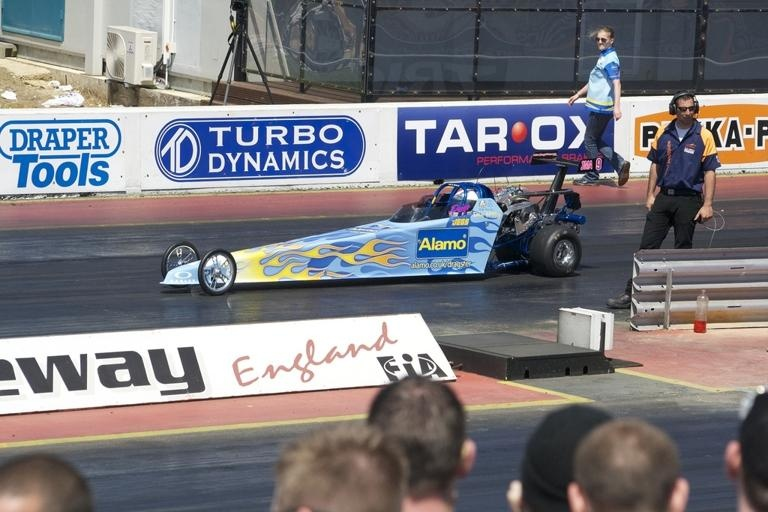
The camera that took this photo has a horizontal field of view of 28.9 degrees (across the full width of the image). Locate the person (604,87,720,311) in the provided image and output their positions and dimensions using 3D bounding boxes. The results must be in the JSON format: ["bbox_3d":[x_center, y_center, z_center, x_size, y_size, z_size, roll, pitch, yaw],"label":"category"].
[{"bbox_3d":[3.871,-1.076,19.393,0.888,2.042,0.447,4,16,10],"label":"person"}]

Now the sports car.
[{"bbox_3d":[0.000,-0.489,21.144,5.622,1.400,2.306,-2,4,-17],"label":"sports car"}]

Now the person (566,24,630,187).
[{"bbox_3d":[3.768,-2.595,25.868,1.387,2.655,1.033,1,1,5],"label":"person"}]

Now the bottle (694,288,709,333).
[{"bbox_3d":[4.081,0.713,19.167,0.176,0.517,0.266,5,15,12],"label":"bottle"}]

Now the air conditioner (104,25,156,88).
[{"bbox_3d":[-5.806,-4.623,34.714,0.582,1.335,1.373,-11,19,-38],"label":"air conditioner"}]

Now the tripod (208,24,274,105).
[{"bbox_3d":[-3.068,-3.949,31.181,1.397,1.803,1.358,17,29,42],"label":"tripod"}]
